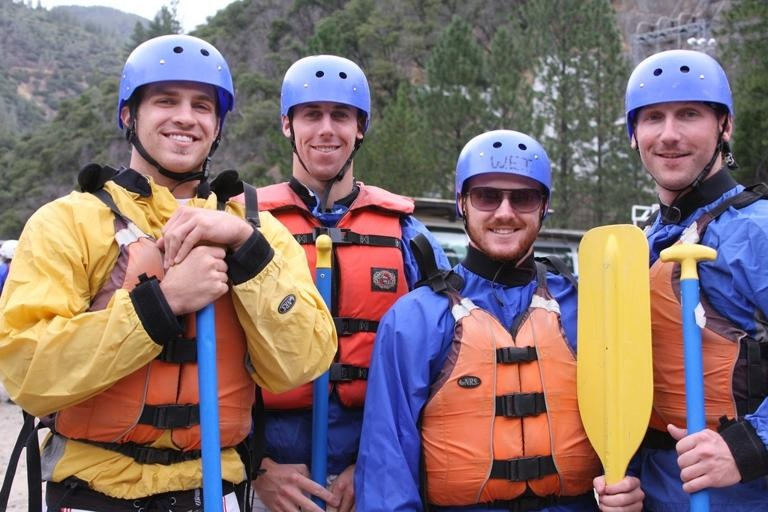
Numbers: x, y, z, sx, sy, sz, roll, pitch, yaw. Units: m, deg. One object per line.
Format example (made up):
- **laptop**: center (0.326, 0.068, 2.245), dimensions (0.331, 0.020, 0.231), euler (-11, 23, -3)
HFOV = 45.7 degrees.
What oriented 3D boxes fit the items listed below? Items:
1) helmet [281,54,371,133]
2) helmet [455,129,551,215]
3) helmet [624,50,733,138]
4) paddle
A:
- **helmet**: center (-0.452, -1.222, 6.931), dimensions (0.433, 0.511, 0.547), euler (5, -28, -9)
- **helmet**: center (0.864, -0.638, 6.470), dimensions (0.541, 0.476, 0.619), euler (3, -10, 2)
- **helmet**: center (1.994, -1.161, 6.246), dimensions (0.530, 0.402, 0.553), euler (-4, -22, 16)
- **paddle**: center (1.467, 0.485, 5.871), dimensions (0.499, 2.143, 0.114), euler (3, 29, 20)
